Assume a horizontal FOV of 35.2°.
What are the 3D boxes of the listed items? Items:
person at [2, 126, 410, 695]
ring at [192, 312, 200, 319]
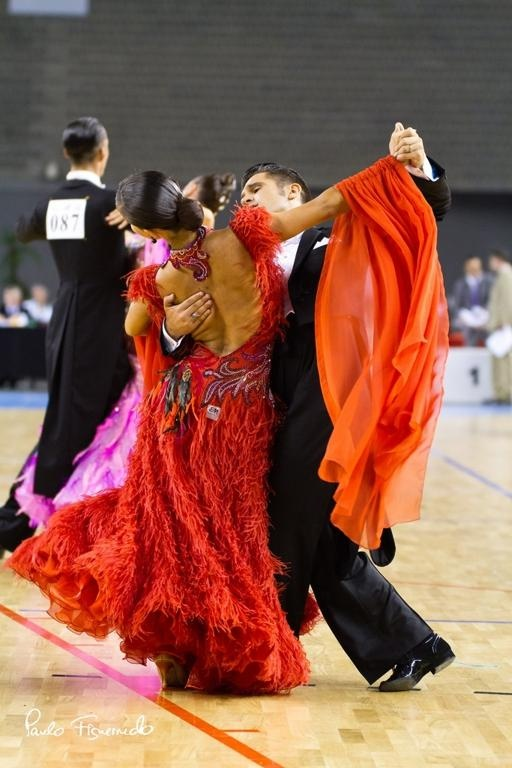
[{"bbox_3d":[-0.156,0.114,1.610,0.528,0.936,0.358,0,0,32],"label":"person"},{"bbox_3d":[-0.121,-0.137,1.611,0.015,0.011,0.003,0,6,0],"label":"ring"}]
